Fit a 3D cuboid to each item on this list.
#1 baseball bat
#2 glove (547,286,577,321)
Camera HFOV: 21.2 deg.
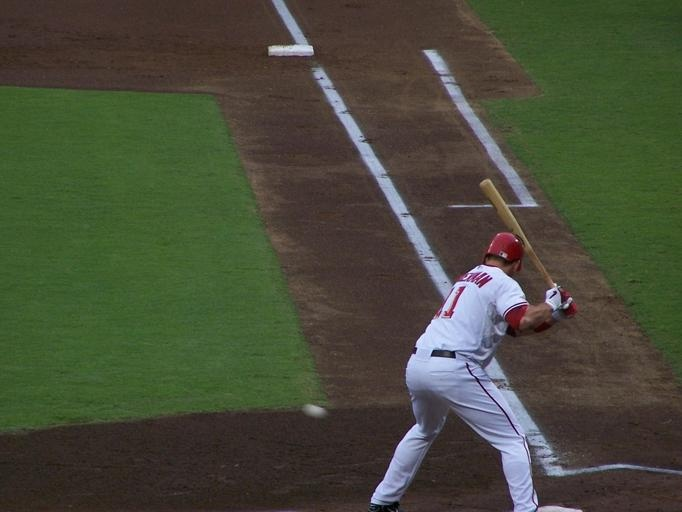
[{"bbox_3d":[2.167,-0.225,22.086,0.208,0.147,1.656,-33,77,-10],"label":"baseball bat"},{"bbox_3d":[2.340,0.485,19.810,0.187,0.303,0.373,-49,48,10],"label":"glove"}]
